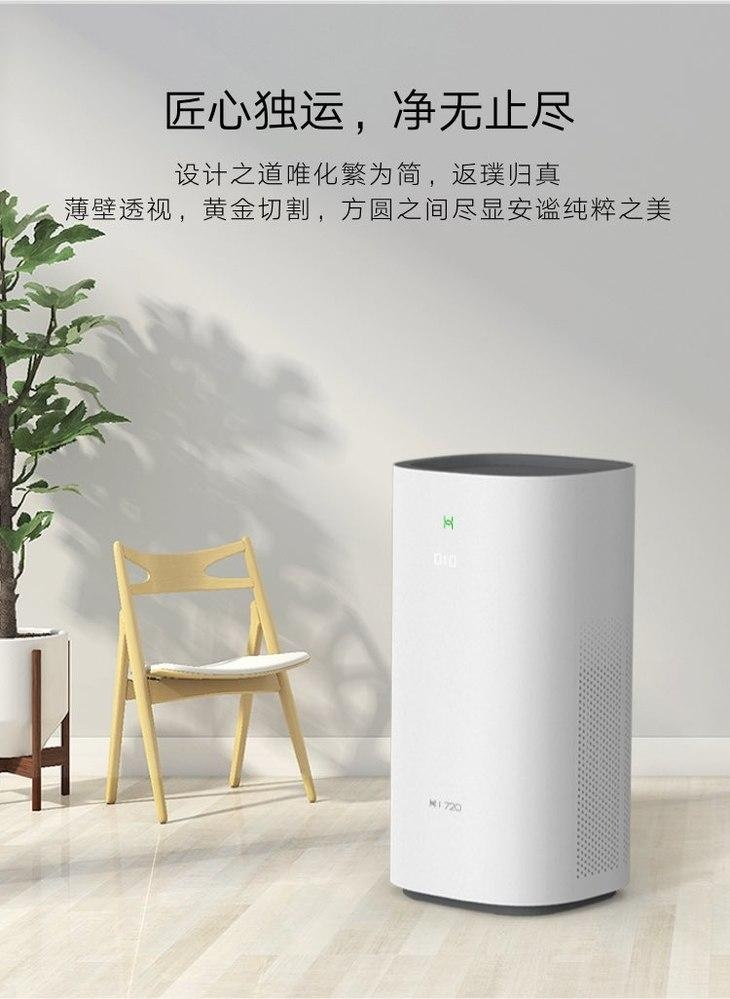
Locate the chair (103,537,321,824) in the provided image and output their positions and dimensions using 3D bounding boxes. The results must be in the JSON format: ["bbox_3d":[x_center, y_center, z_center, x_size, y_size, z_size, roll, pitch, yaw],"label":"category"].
[{"bbox_3d":[-0.434,0.475,2.659,0.492,0.692,0.432,2,-5,-39],"label":"chair"}]

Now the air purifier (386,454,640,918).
[{"bbox_3d":[0.276,0.353,1.841,0.499,0.661,0.232,3,1,8],"label":"air purifier"}]
